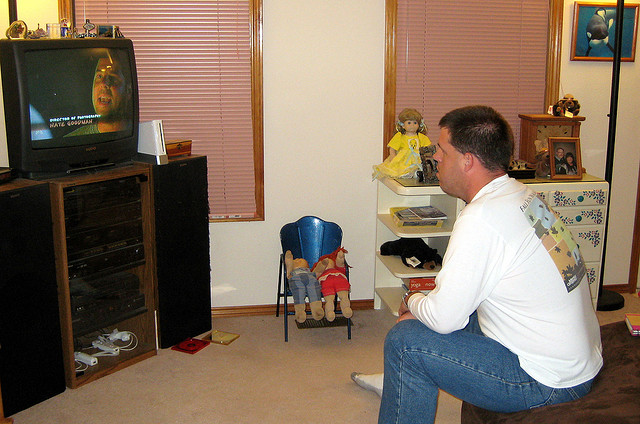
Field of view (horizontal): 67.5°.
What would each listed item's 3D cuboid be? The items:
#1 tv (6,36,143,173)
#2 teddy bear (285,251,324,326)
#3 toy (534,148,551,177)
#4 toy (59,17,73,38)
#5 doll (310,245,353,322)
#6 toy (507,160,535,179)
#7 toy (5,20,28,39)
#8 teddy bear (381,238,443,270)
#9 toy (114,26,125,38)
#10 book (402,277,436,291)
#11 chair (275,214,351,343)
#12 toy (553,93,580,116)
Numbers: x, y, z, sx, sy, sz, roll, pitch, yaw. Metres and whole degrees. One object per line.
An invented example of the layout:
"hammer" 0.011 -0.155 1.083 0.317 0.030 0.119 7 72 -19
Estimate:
"tv" -1.749 -0.765 3.347 0.477 0.843 0.880 22 23 39
"teddy bear" -0.130 0.596 4.066 0.331 0.318 0.784 5 20 -9
"toy" 1.941 -0.438 4.183 0.110 0.234 0.158 3 16 18
"toy" -1.822 -1.326 3.442 0.075 0.133 0.135 -10 17 -26
"doll" 0.118 0.598 4.026 0.341 0.591 0.338 0 17 -10
"toy" 1.773 -0.383 4.218 0.206 0.139 0.358 4 16 23
"toy" -2.070 -1.251 3.276 0.125 0.108 0.071 -11 17 -29
"teddy bear" 0.828 0.353 4.205 0.322 0.118 0.319 -4 18 -19
"toy" -1.551 -1.386 3.693 0.046 0.091 0.242 -7 16 -17
"book" 0.842 0.603 4.038 0.249 0.060 0.245 0 5 1
"chair" -0.054 0.515 4.042 0.638 0.926 0.664 -5 5 -12
"toy" 2.179 -0.949 4.241 0.171 0.159 0.210 0 4 -7
